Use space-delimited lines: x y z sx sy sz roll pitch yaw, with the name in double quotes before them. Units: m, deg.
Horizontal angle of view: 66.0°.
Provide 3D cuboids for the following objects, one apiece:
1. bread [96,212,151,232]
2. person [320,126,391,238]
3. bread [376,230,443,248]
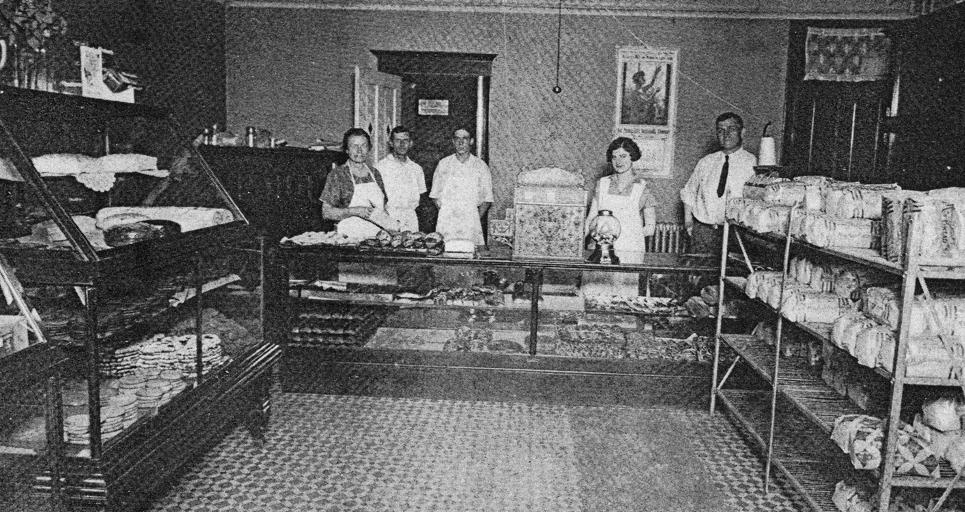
"bread" -2.917 -0.283 6.048 0.272 0.055 0.257 -10 12 -43
"person" -1.413 -0.854 8.610 0.818 1.211 0.573 5 15 14
"bread" -0.755 -0.169 7.785 0.700 0.170 0.212 0 13 -6
